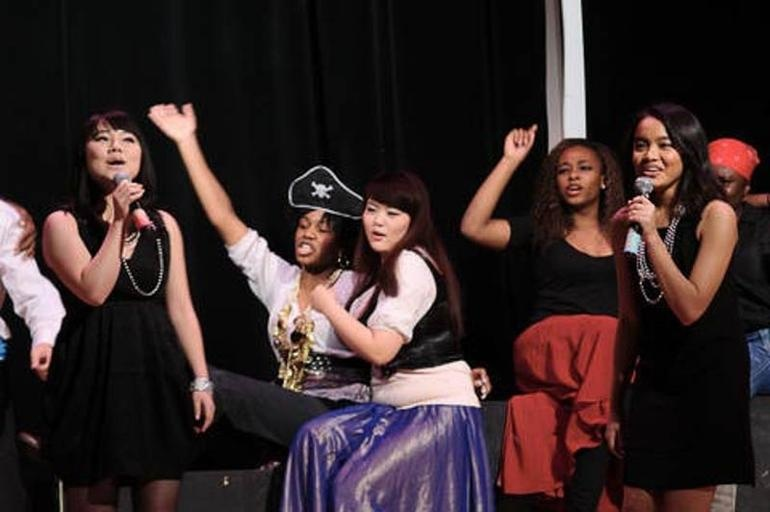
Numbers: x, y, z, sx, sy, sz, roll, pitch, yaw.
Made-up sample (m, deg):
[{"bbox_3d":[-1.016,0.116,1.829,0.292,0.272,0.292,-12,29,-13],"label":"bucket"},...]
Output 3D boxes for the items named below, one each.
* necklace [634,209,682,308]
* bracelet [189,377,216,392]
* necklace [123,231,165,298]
[{"bbox_3d":[0.977,0.001,2.485,0.072,0.326,0.208,15,-16,-32],"label":"necklace"},{"bbox_3d":[-0.729,0.507,2.763,0.075,0.050,0.078,-13,-20,40],"label":"bracelet"},{"bbox_3d":[-0.932,0.024,2.724,0.135,0.232,0.043,-16,7,-36],"label":"necklace"}]
